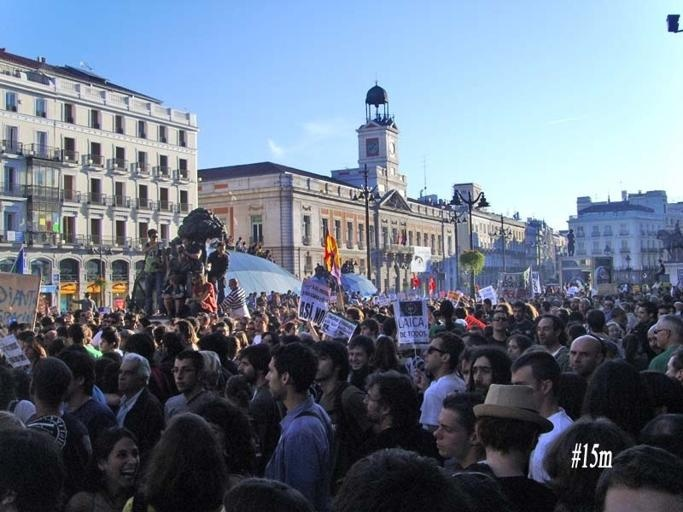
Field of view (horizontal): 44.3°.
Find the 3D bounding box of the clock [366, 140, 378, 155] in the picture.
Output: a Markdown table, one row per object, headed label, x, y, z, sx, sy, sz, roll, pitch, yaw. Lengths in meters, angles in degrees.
| label | x | y | z | sx | sy | sz | roll | pitch | yaw |
| --- | --- | --- | --- | --- | --- | --- | --- | --- | --- |
| clock | 3.213 | -11.099 | 86.420 | 1.517 | 1.796 | 0.187 | -1 | 3 | 14 |
